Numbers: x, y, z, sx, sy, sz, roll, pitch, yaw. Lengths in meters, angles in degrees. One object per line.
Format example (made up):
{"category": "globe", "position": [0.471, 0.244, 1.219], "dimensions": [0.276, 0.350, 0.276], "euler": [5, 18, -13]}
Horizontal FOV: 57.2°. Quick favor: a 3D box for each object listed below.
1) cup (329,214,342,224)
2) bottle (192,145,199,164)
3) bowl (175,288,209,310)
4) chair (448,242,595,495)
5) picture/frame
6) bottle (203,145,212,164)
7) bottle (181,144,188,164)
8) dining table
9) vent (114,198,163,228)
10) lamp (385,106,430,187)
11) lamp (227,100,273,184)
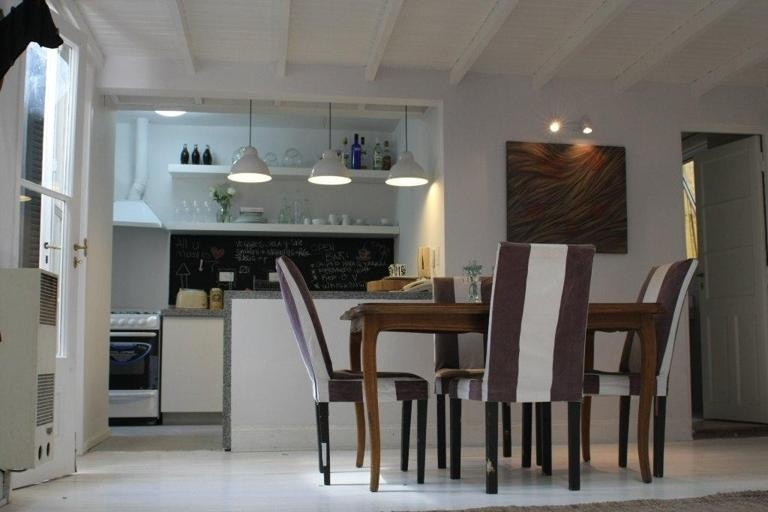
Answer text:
{"category": "cup", "position": [-0.590, -0.445, 8.393], "dimensions": [0.167, 0.136, 0.103], "euler": [1, -5, -8]}
{"category": "bottle", "position": [-2.233, -1.209, 8.354], "dimensions": [0.095, 0.235, 0.123], "euler": [0, -2, -17]}
{"category": "bowl", "position": [-2.097, 0.457, 7.660], "dimensions": [0.305, 0.202, 0.424], "euler": [0, -3, -17]}
{"category": "chair", "position": [0.897, 0.718, 4.641], "dimensions": [0.851, 1.599, 0.471], "euler": [0, -2, -6]}
{"category": "picture/frame", "position": [1.572, -0.497, 6.238], "dimensions": [1.119, 0.887, 0.043], "euler": [1, -5, -10]}
{"category": "bottle", "position": [-2.096, -1.205, 8.360], "dimensions": [0.106, 0.252, 0.165], "euler": [0, -2, -16]}
{"category": "bottle", "position": [-2.351, -1.213, 8.335], "dimensions": [0.112, 0.259, 0.159], "euler": [0, -2, -18]}
{"category": "dining table", "position": [0.777, 0.976, 5.114], "dimensions": [2.050, 1.214, 1.192], "euler": [1, -6, -7]}
{"category": "vent", "position": [-2.774, -0.499, 7.956], "dimensions": [0.532, 0.310, 0.376], "euler": [1, -3, -22]}
{"category": "lamp", "position": [0.237, -1.062, 6.901], "dimensions": [0.379, 0.806, 1.173], "euler": [0, -3, 3]}
{"category": "lamp", "position": [-1.432, -1.168, 7.459], "dimensions": [0.467, 1.006, 2.268], "euler": [0, -3, -10]}
